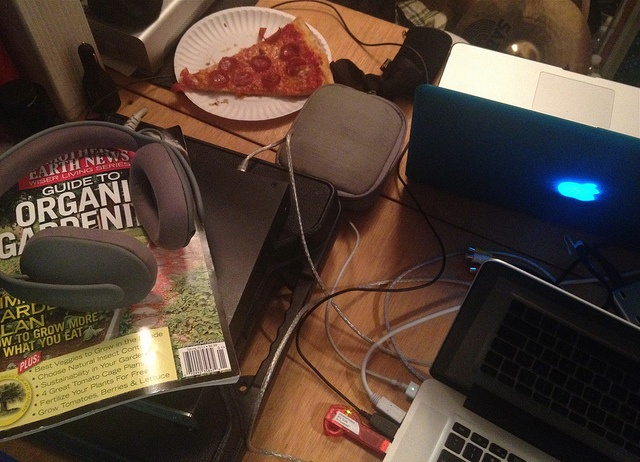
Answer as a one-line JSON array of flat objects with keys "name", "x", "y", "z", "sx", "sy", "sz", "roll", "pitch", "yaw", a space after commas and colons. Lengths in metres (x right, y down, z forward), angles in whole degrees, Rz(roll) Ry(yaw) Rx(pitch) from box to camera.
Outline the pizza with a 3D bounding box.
[{"name": "pizza", "x": -0.127, "y": -0.376, "z": 1.074, "sx": 0.325, "sy": 0.186, "sz": 0.138, "roll": 10, "pitch": 20, "yaw": -1}]
